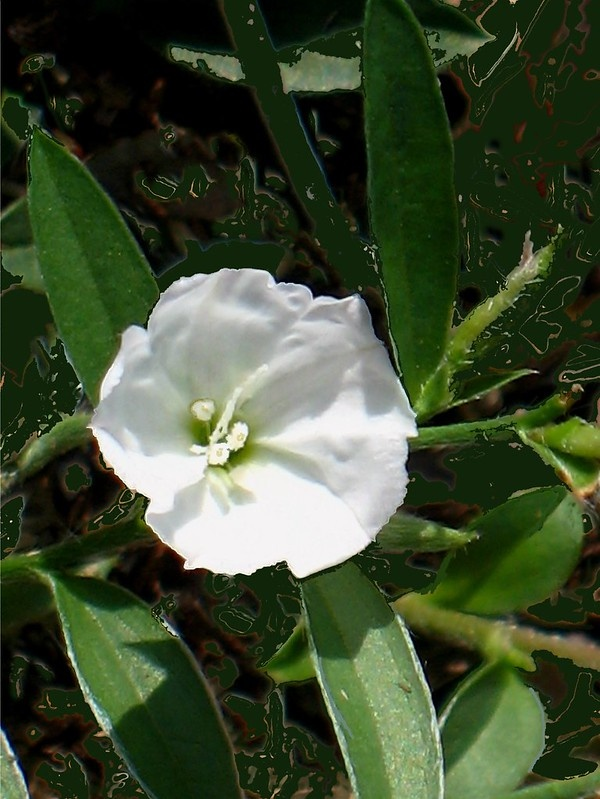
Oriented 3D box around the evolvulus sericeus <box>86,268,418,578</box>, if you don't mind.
[{"bbox_3d":[-0.040,0.026,0.910,0.325,0.224,0.353,-22,80,-5],"label":"evolvulus sericeus"}]
